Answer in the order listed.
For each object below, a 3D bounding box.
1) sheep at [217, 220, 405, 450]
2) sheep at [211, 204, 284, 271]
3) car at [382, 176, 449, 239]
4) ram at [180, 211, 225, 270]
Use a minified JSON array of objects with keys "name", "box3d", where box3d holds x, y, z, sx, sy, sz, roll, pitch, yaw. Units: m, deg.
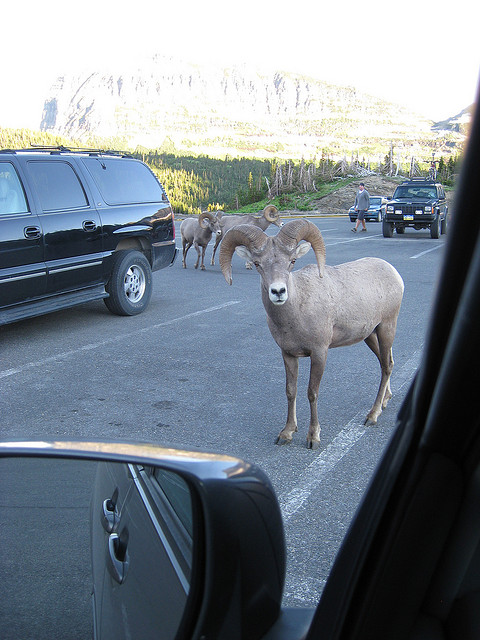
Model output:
[{"name":"sheep","box3d":[0.783,0.044,4.546,1.681,1.943,1.066,-9,15,-33]},{"name":"sheep","box3d":[0.185,-2.638,15.360,2.282,2.190,0.836,4,4,4]},{"name":"car","box3d":[8.440,-5.281,22.734,2.248,3.029,4.728,5,12,26]},{"name":"ram","box3d":[-1.284,-2.454,14.835,0.759,1.908,2.080,-6,14,-39]}]
